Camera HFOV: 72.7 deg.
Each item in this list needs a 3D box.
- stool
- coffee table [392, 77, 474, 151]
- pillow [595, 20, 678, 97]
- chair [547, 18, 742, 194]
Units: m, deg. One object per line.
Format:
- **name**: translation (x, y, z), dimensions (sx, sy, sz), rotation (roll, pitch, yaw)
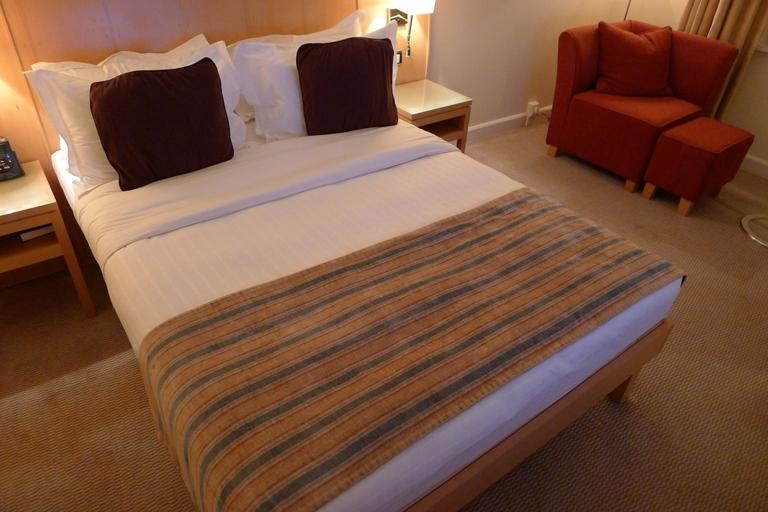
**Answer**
- **stool**: translation (2.415, -0.691, 4.019), dimensions (0.641, 0.551, 0.479), rotation (-16, 37, -28)
- **coffee table**: translation (0.421, -0.985, 4.092), dimensions (0.540, 0.436, 0.541), rotation (-23, 32, -24)
- **pillow**: translation (2.007, -1.537, 4.155), dimensions (0.618, 0.592, 0.238), rotation (5, 7, 6)
- **chair**: translation (2.118, -1.191, 4.175), dimensions (0.780, 1.129, 1.380), rotation (-27, 47, -26)
